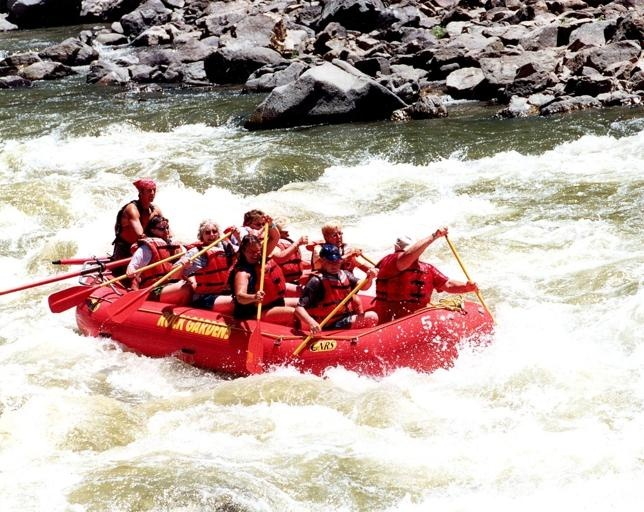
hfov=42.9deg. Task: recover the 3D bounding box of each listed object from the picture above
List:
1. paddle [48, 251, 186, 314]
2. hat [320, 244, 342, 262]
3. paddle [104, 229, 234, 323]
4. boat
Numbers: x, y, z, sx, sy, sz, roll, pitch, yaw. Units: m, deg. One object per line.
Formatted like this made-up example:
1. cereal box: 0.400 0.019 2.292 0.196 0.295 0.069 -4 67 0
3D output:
1. paddle: -2.658 0.363 10.855 1.549 0.107 0.265 -25 12 -7
2. hat: 0.090 -0.046 9.584 0.236 0.114 0.167 15 19 31
3. paddle: -1.935 0.293 10.576 2.130 0.294 0.150 -31 -3 -2
4. boat: -0.393 0.501 9.835 3.502 0.554 1.685 2 10 17
